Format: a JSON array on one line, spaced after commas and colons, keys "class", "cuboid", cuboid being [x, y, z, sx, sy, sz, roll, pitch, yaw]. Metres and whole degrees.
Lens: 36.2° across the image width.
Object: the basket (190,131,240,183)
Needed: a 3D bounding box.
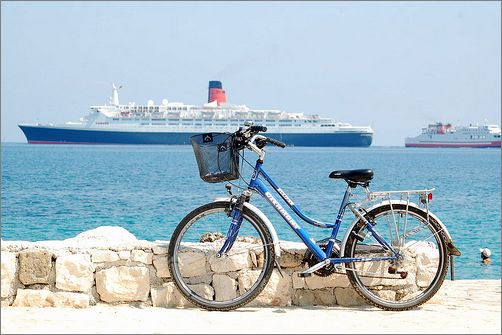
[{"class": "basket", "cuboid": [-0.590, -0.163, 12.724, 0.882, 0.791, 0.765, -6, -3, -1]}]
